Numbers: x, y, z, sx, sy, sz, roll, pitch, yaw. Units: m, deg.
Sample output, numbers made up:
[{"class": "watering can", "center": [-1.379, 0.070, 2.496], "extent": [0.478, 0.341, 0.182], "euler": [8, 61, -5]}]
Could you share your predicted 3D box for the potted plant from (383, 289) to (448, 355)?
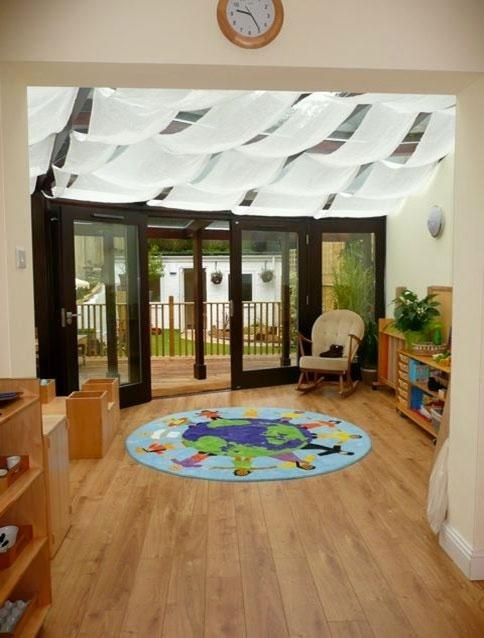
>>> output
[{"class": "potted plant", "center": [1.582, 0.004, 4.141], "extent": [0.564, 0.585, 0.456], "euler": [0, -1, 6]}]

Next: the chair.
[{"class": "chair", "center": [1.065, 0.397, 5.510], "extent": [0.684, 1.047, 0.906], "euler": [1, 1, 26]}]

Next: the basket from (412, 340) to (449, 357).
[{"class": "basket", "center": [1.581, 0.267, 3.885], "extent": [0.285, 0.097, 0.172], "euler": [0, 2, 17]}]

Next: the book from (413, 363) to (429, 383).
[{"class": "book", "center": [1.510, 0.479, 3.911], "extent": [0.126, 0.214, 0.125], "euler": [0, -3, 10]}]

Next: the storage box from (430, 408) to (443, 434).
[{"class": "storage box", "center": [1.427, 0.776, 3.396], "extent": [0.061, 0.188, 0.279], "euler": [0, 2, 15]}]

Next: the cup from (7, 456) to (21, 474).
[{"class": "cup", "center": [-0.725, 0.462, 1.465], "extent": [0.032, 0.045, 0.045], "euler": [0, -6, -10]}]

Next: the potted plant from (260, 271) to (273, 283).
[{"class": "potted plant", "center": [0.309, -0.539, 5.899], "extent": [0.142, 0.158, 0.147], "euler": [-1, 8, -9]}]

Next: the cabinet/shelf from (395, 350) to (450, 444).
[{"class": "cabinet/shelf", "center": [1.534, 0.625, 3.831], "extent": [0.246, 0.556, 0.727], "euler": [0, 9, -7]}]

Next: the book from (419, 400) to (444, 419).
[{"class": "book", "center": [1.494, 0.721, 3.667], "extent": [0.144, 0.071, 0.179], "euler": [0, -3, 1]}]

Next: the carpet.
[{"class": "carpet", "center": [0.061, 0.972, 3.698], "extent": [1.922, 0.031, 1.746], "euler": [0, 2, 0]}]
